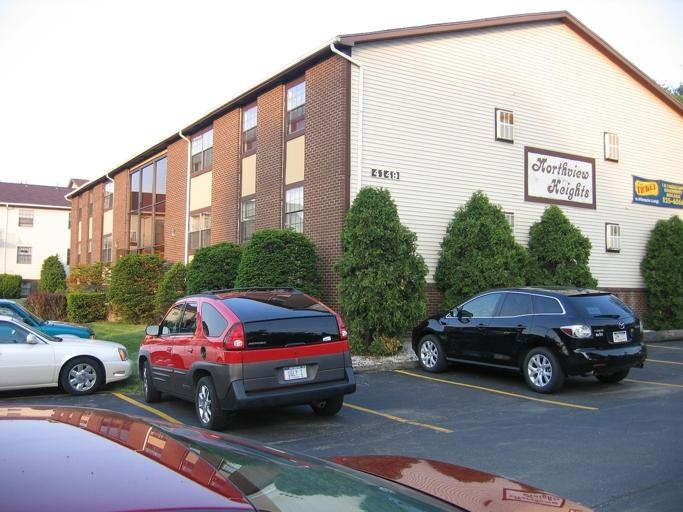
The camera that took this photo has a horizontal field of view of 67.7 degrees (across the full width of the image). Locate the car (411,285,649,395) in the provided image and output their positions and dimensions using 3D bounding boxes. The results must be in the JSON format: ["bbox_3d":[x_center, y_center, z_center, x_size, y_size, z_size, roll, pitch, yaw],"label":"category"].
[{"bbox_3d":[3.795,1.537,10.806,2.178,1.381,3.928,3,-1,-40],"label":"car"}]

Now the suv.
[{"bbox_3d":[-1.749,1.436,8.087,1.855,1.311,3.074,2,0,-36],"label":"suv"}]
